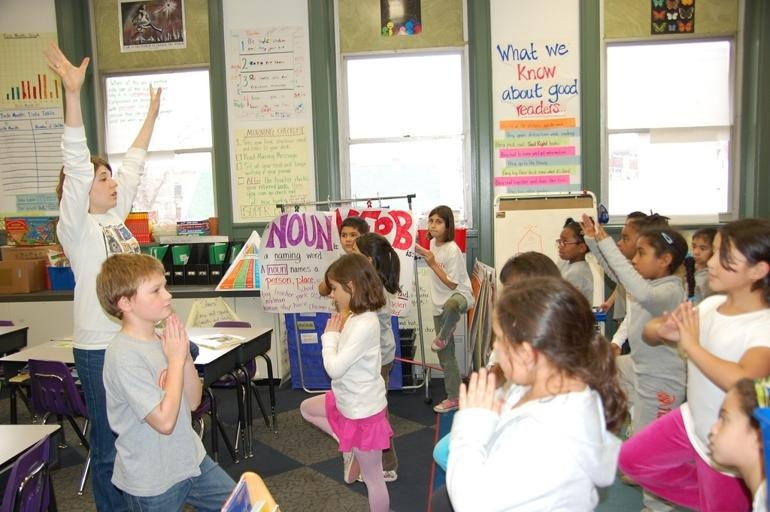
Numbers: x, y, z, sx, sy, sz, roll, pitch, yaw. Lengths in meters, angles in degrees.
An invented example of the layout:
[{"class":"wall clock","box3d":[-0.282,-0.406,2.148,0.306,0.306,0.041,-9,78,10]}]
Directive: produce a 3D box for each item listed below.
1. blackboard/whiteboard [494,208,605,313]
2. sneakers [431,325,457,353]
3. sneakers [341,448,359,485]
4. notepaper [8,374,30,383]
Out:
[{"class":"blackboard/whiteboard","box3d":[1.275,0.007,4.569,0.939,1.081,0.056,-1,0,5]},{"class":"sneakers","box3d":[0.524,0.748,5.454,0.119,0.276,0.076,41,27,18]},{"class":"sneakers","box3d":[-0.249,1.557,4.517,0.119,0.292,0.096,-10,12,6]},{"class":"notepaper","box3d":[-2.902,0.980,4.853,0.093,0.026,0.096,3,5,15]}]
